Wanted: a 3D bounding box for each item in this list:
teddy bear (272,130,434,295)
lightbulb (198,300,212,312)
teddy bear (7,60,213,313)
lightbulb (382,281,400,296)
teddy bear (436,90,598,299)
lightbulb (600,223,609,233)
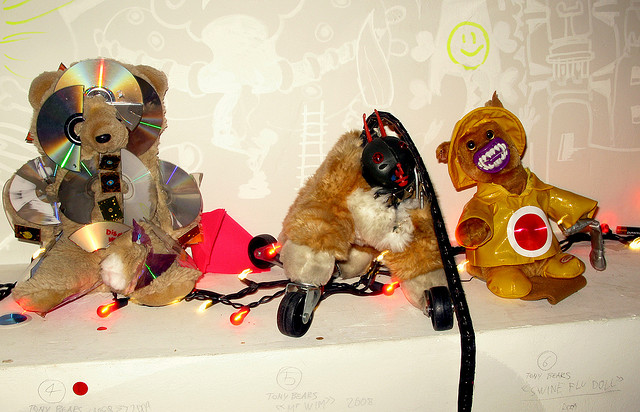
[{"bbox_3d":[0.111,0.027,1.622,0.518,0.527,0.167,0,1,-7],"label":"teddy bear"},{"bbox_3d":[-0.381,0.333,1.714,0.011,0.041,0.029,51,-26,-20],"label":"lightbulb"},{"bbox_3d":[-0.694,-0.066,1.738,0.674,0.845,0.273,6,-17,-13],"label":"teddy bear"},{"bbox_3d":[0.249,0.284,1.789,0.037,0.028,0.067,36,32,29],"label":"lightbulb"},{"bbox_3d":[0.690,-0.045,1.865,0.594,0.677,0.437,-16,10,-19],"label":"teddy bear"},{"bbox_3d":[1.131,0.089,2.056,0.027,0.039,0.019,-1,2,-12],"label":"lightbulb"}]
